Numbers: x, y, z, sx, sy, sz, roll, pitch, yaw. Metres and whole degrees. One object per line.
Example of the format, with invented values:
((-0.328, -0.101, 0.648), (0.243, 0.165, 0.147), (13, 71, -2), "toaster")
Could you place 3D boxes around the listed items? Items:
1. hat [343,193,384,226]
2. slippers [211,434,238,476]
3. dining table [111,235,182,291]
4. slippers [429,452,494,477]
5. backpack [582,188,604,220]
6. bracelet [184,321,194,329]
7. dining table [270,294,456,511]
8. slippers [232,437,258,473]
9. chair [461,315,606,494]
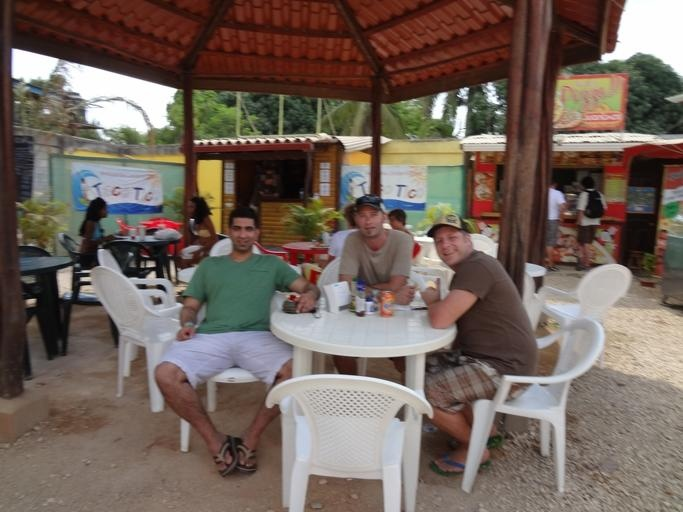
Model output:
((0.223, -0.475, 4.474), (0.293, 0.152, 0.351), (7, -11, -5), "hat")
((-0.865, 1.469, 3.751), (0.149, 0.291, 0.122), (-1, -4, 20), "slippers")
((-2.789, 0.060, 7.414), (0.854, 0.522, 0.780), (1, 9, 3), "dining table")
((0.874, 1.560, 3.790), (0.401, 0.072, 0.154), (-4, 30, 15), "slippers")
((5.160, -1.063, 10.367), (0.357, 0.604, 0.205), (1, 12, 21), "backpack")
((-1.240, 0.551, 4.113), (0.056, 0.033, 0.051), (1, -2, 12), "bracelet")
((0.120, 1.056, 4.018), (1.570, 1.317, 1.370), (0, 2, -13), "dining table")
((-0.732, 1.467, 3.799), (0.118, 0.076, 0.268), (6, 37, -37), "slippers")
((1.455, 1.088, 4.320), (1.425, 1.461, 1.285), (0, 1, 13), "chair")
